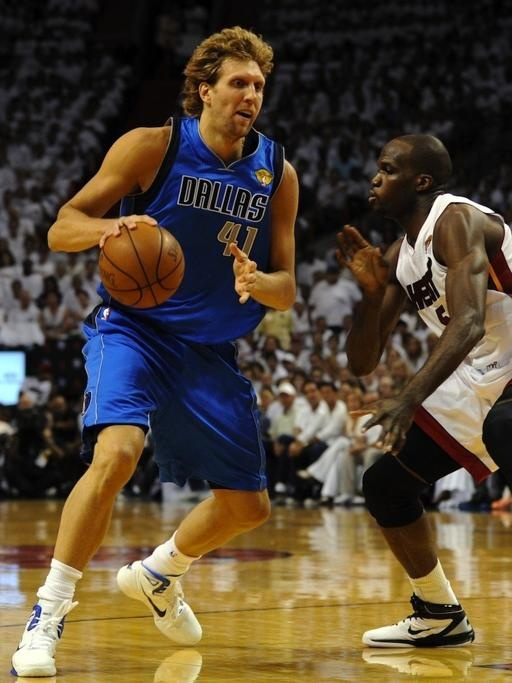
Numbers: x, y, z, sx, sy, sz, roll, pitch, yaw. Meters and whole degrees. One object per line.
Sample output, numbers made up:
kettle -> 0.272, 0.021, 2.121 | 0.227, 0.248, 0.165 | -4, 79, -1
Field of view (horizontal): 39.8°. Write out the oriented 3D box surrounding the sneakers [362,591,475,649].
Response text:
sneakers -> 0.422, 0.807, 2.056 | 0.409, 0.123, 0.179 | 1, 74, 4

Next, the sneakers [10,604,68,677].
sneakers -> -0.457, 0.645, 1.517 | 0.084, 0.191, 0.117 | 15, 79, -5

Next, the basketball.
basketball -> -0.239, -0.209, 1.821 | 0.232, 0.217, 0.201 | 4, 28, 1
